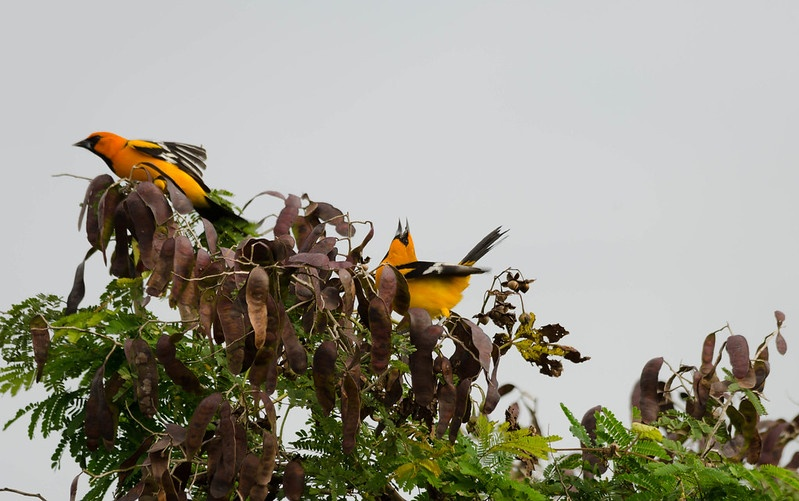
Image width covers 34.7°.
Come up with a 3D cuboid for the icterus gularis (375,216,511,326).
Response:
[{"bbox_3d":[0.114,0.045,3.354,0.324,0.225,0.160,-8,0,-5],"label":"icterus gularis"}]

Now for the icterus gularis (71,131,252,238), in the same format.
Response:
[{"bbox_3d":[-0.629,-0.185,3.413,0.481,0.147,0.375,18,-23,-30],"label":"icterus gularis"}]
